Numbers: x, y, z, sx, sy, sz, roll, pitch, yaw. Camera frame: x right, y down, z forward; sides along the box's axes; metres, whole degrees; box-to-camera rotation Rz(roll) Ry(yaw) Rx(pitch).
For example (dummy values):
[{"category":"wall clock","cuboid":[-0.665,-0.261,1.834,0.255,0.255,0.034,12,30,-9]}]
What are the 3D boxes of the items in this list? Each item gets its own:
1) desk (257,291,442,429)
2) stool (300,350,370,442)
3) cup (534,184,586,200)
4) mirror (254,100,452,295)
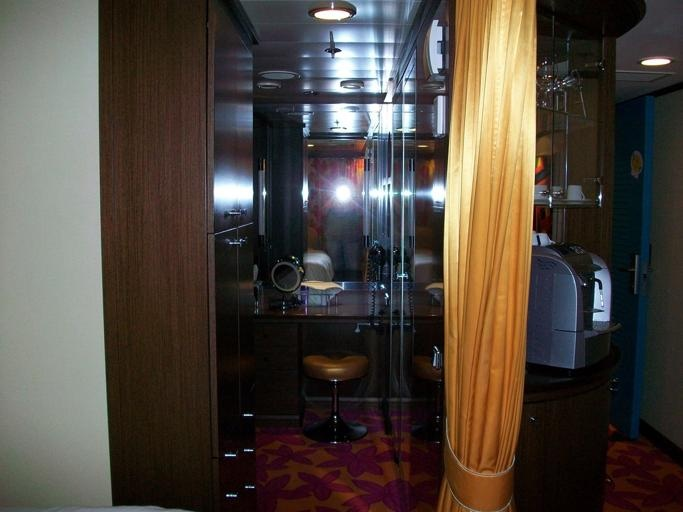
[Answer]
[{"category":"desk","cuboid":[0.009,0.713,3.935,1.054,0.696,0.364,0,0,3]},{"category":"stool","cuboid":[-0.043,1.024,4.343,0.517,0.600,0.531,2,2,17]},{"category":"cup","cuboid":[1.092,-0.319,2.874,0.196,0.081,0.121,2,0,10]},{"category":"mirror","cuboid":[0.025,-0.469,3.963,1.339,1.357,0.454,0,5,5]}]
